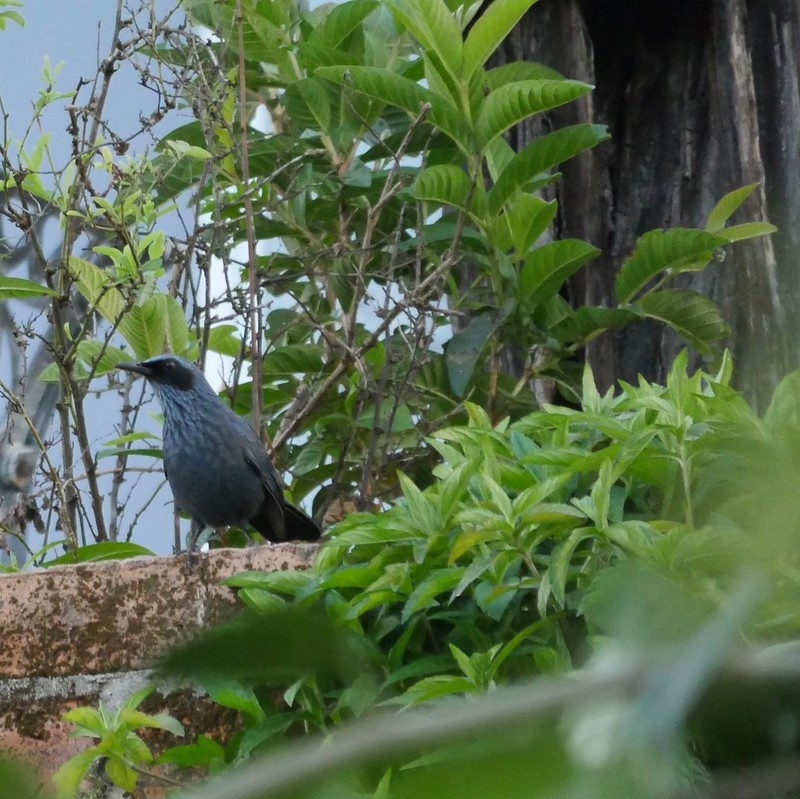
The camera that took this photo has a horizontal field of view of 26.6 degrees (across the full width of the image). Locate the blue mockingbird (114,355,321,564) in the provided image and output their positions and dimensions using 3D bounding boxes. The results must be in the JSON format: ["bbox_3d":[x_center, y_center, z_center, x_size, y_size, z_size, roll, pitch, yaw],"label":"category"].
[{"bbox_3d":[-0.469,0.150,4.308,0.279,0.444,0.567,-16,-16,34],"label":"blue mockingbird"}]
